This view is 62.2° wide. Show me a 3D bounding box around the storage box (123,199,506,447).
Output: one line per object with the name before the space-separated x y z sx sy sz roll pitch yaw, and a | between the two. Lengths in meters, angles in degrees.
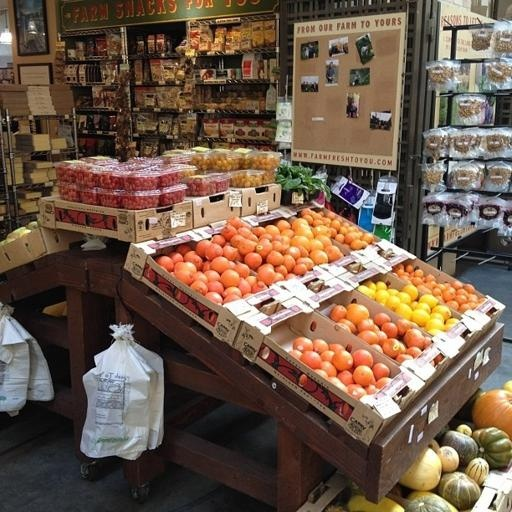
storage box | 0.305 0.213 1.936 1.152 0.617 1.246 9 13 39
